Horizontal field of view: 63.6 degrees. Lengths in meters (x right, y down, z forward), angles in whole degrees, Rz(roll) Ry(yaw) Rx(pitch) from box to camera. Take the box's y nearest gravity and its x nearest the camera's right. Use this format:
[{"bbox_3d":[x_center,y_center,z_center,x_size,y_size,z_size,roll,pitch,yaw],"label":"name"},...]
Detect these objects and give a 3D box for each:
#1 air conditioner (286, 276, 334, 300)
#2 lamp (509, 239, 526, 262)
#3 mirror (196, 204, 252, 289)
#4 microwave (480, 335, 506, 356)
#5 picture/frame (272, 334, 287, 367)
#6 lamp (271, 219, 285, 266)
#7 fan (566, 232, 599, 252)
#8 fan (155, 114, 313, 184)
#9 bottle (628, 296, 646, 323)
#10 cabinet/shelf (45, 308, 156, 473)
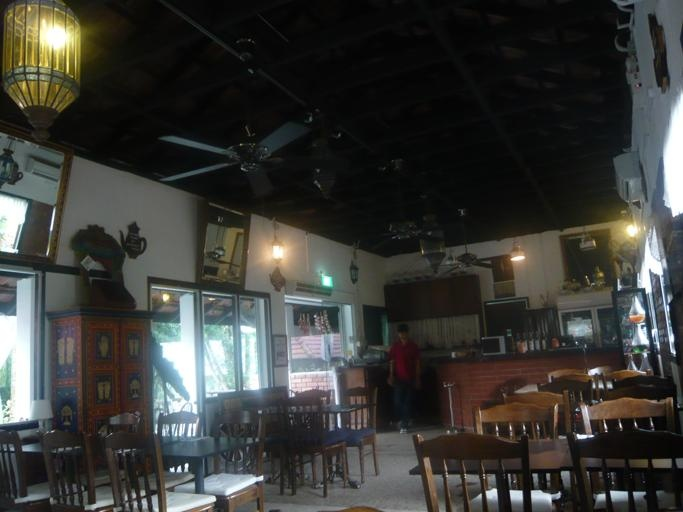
[{"bbox_3d":[-0.612,0.615,10.275,0.093,0.347,1.358,-10,-14,33],"label":"air conditioner"},{"bbox_3d":[3.631,-0.089,11.359,0.363,0.427,0.377,2,-10,-10],"label":"lamp"},{"bbox_3d":[-1.788,-0.128,8.164,0.193,1.452,1.196,4,0,28],"label":"mirror"},{"bbox_3d":[2.381,1.415,8.679,0.326,0.272,0.372,-7,-12,19],"label":"microwave"},{"bbox_3d":[-1.043,1.584,9.121,0.052,0.559,0.484,-8,-10,25],"label":"picture/frame"},{"bbox_3d":[-1.102,-0.234,9.493,0.214,0.748,0.583,-1,-11,-7],"label":"lamp"},{"bbox_3d":[4.935,-0.274,11.240,0.364,0.366,0.263,5,-37,30],"label":"fan"},{"bbox_3d":[-0.974,-1.029,5.672,1.399,0.286,0.976,-4,-12,4],"label":"fan"},{"bbox_3d":[4.028,0.718,7.528,0.185,0.372,0.597,-8,-13,26],"label":"bottle"},{"bbox_3d":[-2.587,1.255,5.934,1.072,1.330,0.431,4,-13,-30],"label":"cabinet/shelf"}]
